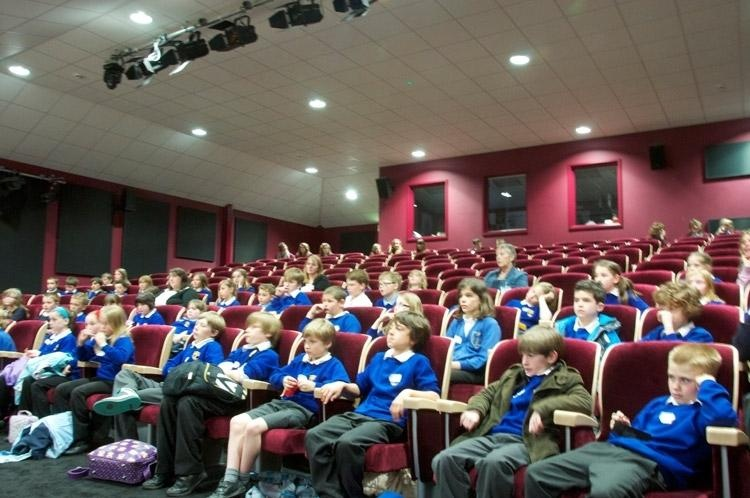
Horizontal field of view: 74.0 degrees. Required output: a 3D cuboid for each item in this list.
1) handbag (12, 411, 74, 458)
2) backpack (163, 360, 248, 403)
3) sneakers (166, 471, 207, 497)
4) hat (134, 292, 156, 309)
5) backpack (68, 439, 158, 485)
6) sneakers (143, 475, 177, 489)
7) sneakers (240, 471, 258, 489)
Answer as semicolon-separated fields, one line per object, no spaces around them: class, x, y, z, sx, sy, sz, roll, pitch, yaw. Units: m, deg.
handbag;-2.504;1.425;3.792;0.294;0.139;0.398;-6;-2;-7
backpack;-1.152;0.852;3.390;0.418;0.172;0.298;9;-7;3
sneakers;-1.237;1.537;3.255;0.099;0.087;0.213;-7;-15;29
hat;-2.265;0.502;4.899;0.136;0.148;0.181;1;7;20
backpack;-1.783;1.452;3.439;0.413;0.136;0.309;-1;-4;22
sneakers;-1.428;1.539;3.286;0.180;0.071;0.079;10;-13;-15
sneakers;-0.779;1.416;3.057;0.074;0.115;0.050;31;-20;-9
